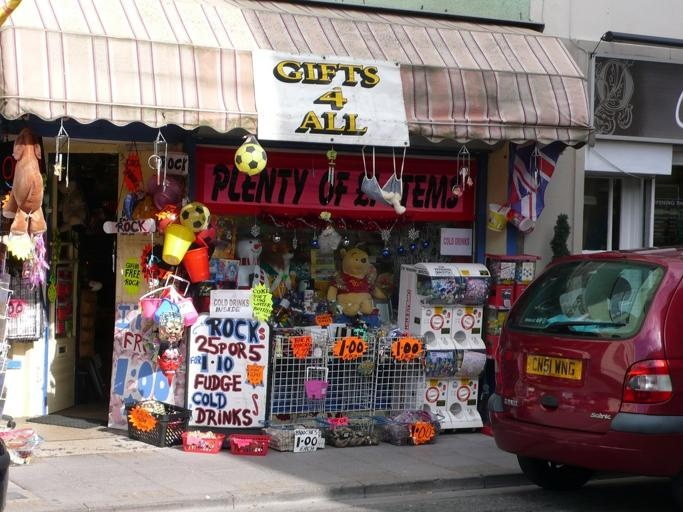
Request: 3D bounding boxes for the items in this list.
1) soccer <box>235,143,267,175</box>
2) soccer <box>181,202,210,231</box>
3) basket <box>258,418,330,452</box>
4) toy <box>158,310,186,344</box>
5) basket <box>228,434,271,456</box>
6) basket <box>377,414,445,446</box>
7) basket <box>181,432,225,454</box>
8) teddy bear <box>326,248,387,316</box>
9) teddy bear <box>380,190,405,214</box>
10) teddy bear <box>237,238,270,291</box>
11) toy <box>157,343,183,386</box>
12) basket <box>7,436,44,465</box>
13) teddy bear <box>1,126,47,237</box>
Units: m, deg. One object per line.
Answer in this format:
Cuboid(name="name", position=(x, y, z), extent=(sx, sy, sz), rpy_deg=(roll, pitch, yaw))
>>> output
Cuboid(name="soccer", position=(-1.005, -1.017, 9.323), extent=(0.316, 0.347, 0.312), rpy_deg=(7, -14, -34))
Cuboid(name="soccer", position=(-1.619, -0.465, 9.614), extent=(0.287, 0.314, 0.353), rpy_deg=(-3, -32, 1))
Cuboid(name="basket", position=(-0.524, 2.047, 9.677), extent=(0.711, 0.261, 0.581), rpy_deg=(1, -2, -22))
Cuboid(name="toy", position=(-1.877, 0.768, 9.379), extent=(0.325, 0.393, 0.166), rpy_deg=(0, 16, -28))
Cuboid(name="basket", position=(-0.998, 2.047, 9.246), extent=(0.318, 0.128, 0.225), rpy_deg=(1, -1, -2))
Cuboid(name="basket", position=(0.706, 2.016, 10.007), extent=(0.410, 0.239, 0.449), rpy_deg=(2, -2, -26))
Cuboid(name="basket", position=(-1.509, 2.019, 9.266), extent=(0.305, 0.120, 0.240), rpy_deg=(4, -6, 1))
Cuboid(name="teddy bear", position=(0.116, 0.319, 11.148), extent=(0.917, 1.148, 0.696), rpy_deg=(-3, 4, -29))
Cuboid(name="teddy bear", position=(0.611, -0.625, 9.911), extent=(0.259, 0.255, 0.247), rpy_deg=(-1, -3, 21))
Cuboid(name="teddy bear", position=(-1.094, 0.084, 10.499), extent=(0.416, 0.608, 0.131), rpy_deg=(2, -3, -37))
Cuboid(name="toy", position=(-1.940, 1.218, 9.587), extent=(0.251, 0.508, 0.296), rpy_deg=(1, -3, -13))
Cuboid(name="basket", position=(-3.218, 1.930, 8.580), extent=(0.351, 0.305, 0.282), rpy_deg=(1, -3, -23))
Cuboid(name="teddy bear", position=(-3.322, -0.781, 8.916), extent=(0.406, 1.142, 0.637), rpy_deg=(1, -3, -22))
